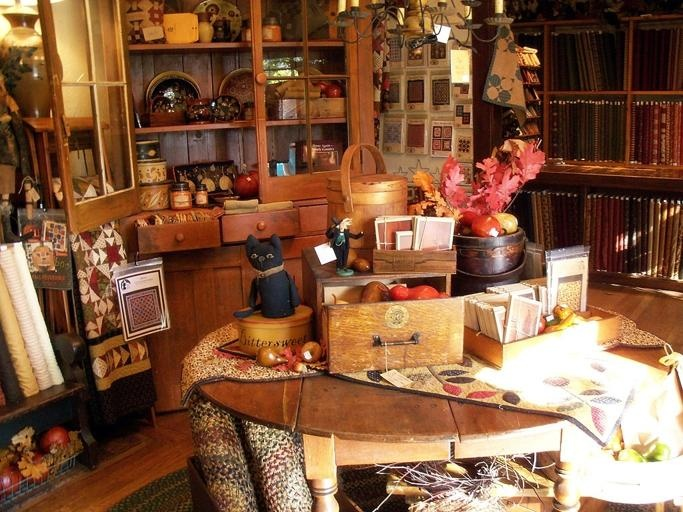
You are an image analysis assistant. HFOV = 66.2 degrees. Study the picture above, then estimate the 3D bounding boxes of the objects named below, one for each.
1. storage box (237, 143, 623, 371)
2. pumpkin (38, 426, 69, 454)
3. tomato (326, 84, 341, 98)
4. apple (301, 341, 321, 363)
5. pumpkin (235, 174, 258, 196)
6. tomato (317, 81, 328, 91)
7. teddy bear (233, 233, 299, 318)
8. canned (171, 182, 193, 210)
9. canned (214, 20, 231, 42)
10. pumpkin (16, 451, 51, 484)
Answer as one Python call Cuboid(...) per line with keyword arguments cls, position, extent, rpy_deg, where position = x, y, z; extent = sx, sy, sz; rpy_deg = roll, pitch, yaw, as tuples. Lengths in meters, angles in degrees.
Cuboid(cls="storage box", position=(0.307, 0.004, 1.739), extent=(1.123, 0.691, 0.521), rpy_deg=(-10, 16, -22))
Cuboid(cls="pumpkin", position=(-1.474, 0.951, 2.764), extent=(0.130, 0.131, 0.157), rpy_deg=(6, 5, 6))
Cuboid(cls="tomato", position=(-0.045, -1.028, 3.294), extent=(0.081, 0.080, 0.083), rpy_deg=(-2, -2, 11))
Cuboid(cls="apple", position=(-0.094, 0.311, 1.673), extent=(0.060, 0.061, 0.061), rpy_deg=(5, 3, 35))
Cuboid(cls="pumpkin", position=(-0.574, -0.435, 3.284), extent=(0.129, 0.130, 0.133), rpy_deg=(-3, 2, 15))
Cuboid(cls="tomato", position=(-0.116, -1.060, 3.242), extent=(0.053, 0.050, 0.053), rpy_deg=(-4, 6, -44))
Cuboid(cls="teddy bear", position=(-0.259, 0.072, 1.790), extent=(0.210, 0.286, 0.151), rpy_deg=(-4, 9, 3))
Cuboid(cls="canned", position=(-0.938, -0.354, 3.098), extent=(0.149, 0.169, 0.150), rpy_deg=(0, 9, 0))
Cuboid(cls="canned", position=(-0.711, -1.368, 3.172), extent=(0.113, 0.130, 0.115), rpy_deg=(18, 30, 33))
Cuboid(cls="pumpkin", position=(-1.533, 1.071, 2.635), extent=(0.110, 0.171, 0.111), rpy_deg=(-7, 15, -10))
